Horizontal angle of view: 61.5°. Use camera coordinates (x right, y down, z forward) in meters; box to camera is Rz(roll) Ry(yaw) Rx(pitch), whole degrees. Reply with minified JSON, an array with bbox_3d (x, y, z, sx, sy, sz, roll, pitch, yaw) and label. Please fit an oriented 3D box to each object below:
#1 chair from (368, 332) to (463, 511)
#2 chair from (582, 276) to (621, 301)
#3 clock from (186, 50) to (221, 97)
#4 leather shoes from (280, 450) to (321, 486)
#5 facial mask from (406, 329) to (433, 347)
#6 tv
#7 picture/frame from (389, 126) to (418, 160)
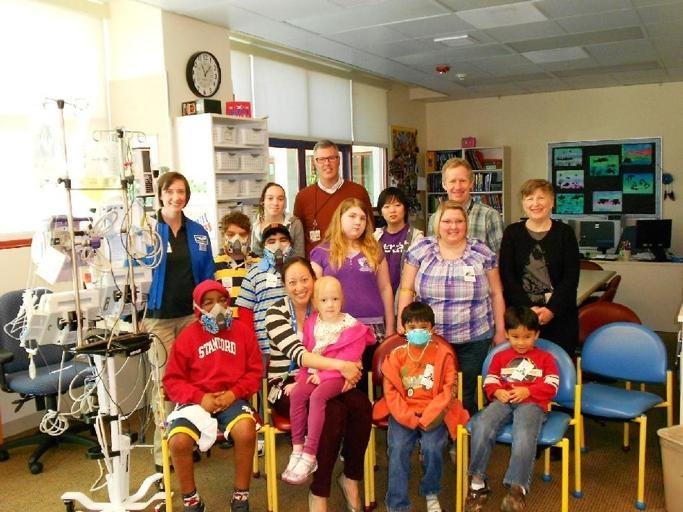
[{"bbox_3d":[0.464,0.954,3.426,0.539,0.968,0.258,4,-14,-4],"label":"chair"},{"bbox_3d":[2.608,0.317,5.795,0.285,0.388,0.290,1,6,21],"label":"chair"},{"bbox_3d":[-1.382,-1.844,5.847,0.053,0.460,0.491,5,11,30],"label":"clock"},{"bbox_3d":[-0.235,1.215,3.286,0.146,0.093,0.221,0,-5,14],"label":"leather shoes"},{"bbox_3d":[0.474,0.492,3.503,0.143,0.115,0.134,1,10,10],"label":"facial mask"},{"bbox_3d":[4.323,-1.250,9.238,1.766,1.268,0.089,1,4,27],"label":"tv"},{"bbox_3d":[1.113,-1.965,9.972,0.032,0.584,0.850,-12,19,-23],"label":"picture/frame"}]
